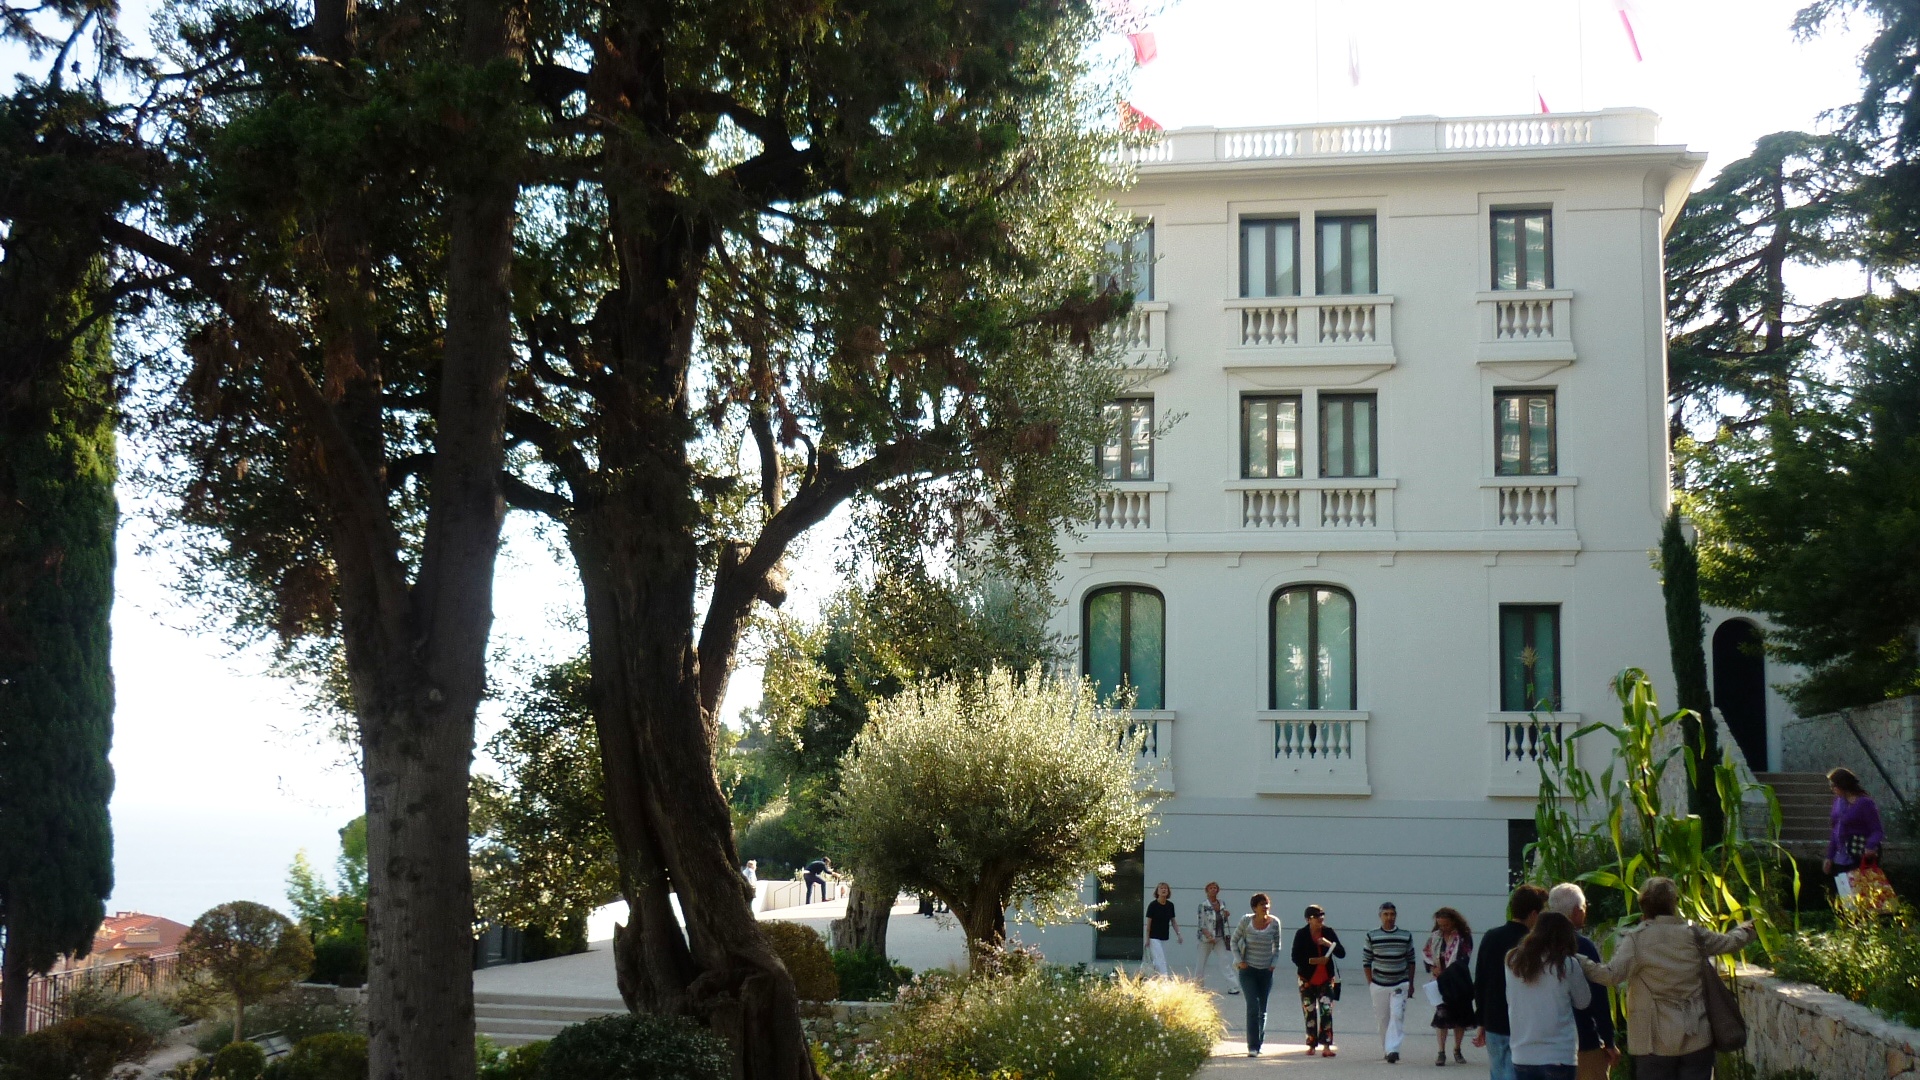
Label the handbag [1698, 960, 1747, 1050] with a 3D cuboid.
[{"bbox_3d":[10.986,6.724,34.138,0.549,1.265,0.348,-2,-12,6],"label":"handbag"}]
